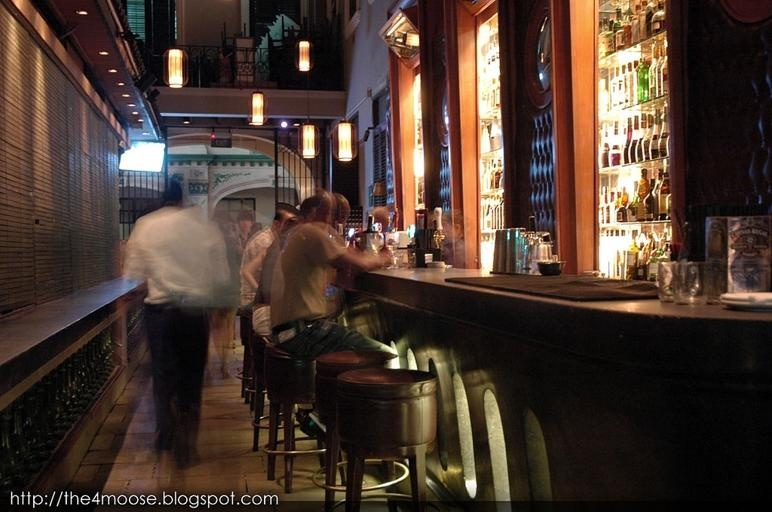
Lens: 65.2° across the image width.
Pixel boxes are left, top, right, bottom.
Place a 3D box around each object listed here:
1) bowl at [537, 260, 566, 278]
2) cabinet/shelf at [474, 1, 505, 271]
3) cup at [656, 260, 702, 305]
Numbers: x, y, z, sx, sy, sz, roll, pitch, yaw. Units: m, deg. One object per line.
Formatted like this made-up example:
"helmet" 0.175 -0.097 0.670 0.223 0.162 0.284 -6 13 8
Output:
"bowl" 0.946 0.078 3.497 0.139 0.076 0.058 0 2 12
"cabinet/shelf" 1.096 -1.213 6.423 0.272 2.718 0.444 -1 2 -22
"cup" 1.187 0.112 2.443 0.156 0.176 0.159 -1 0 0
